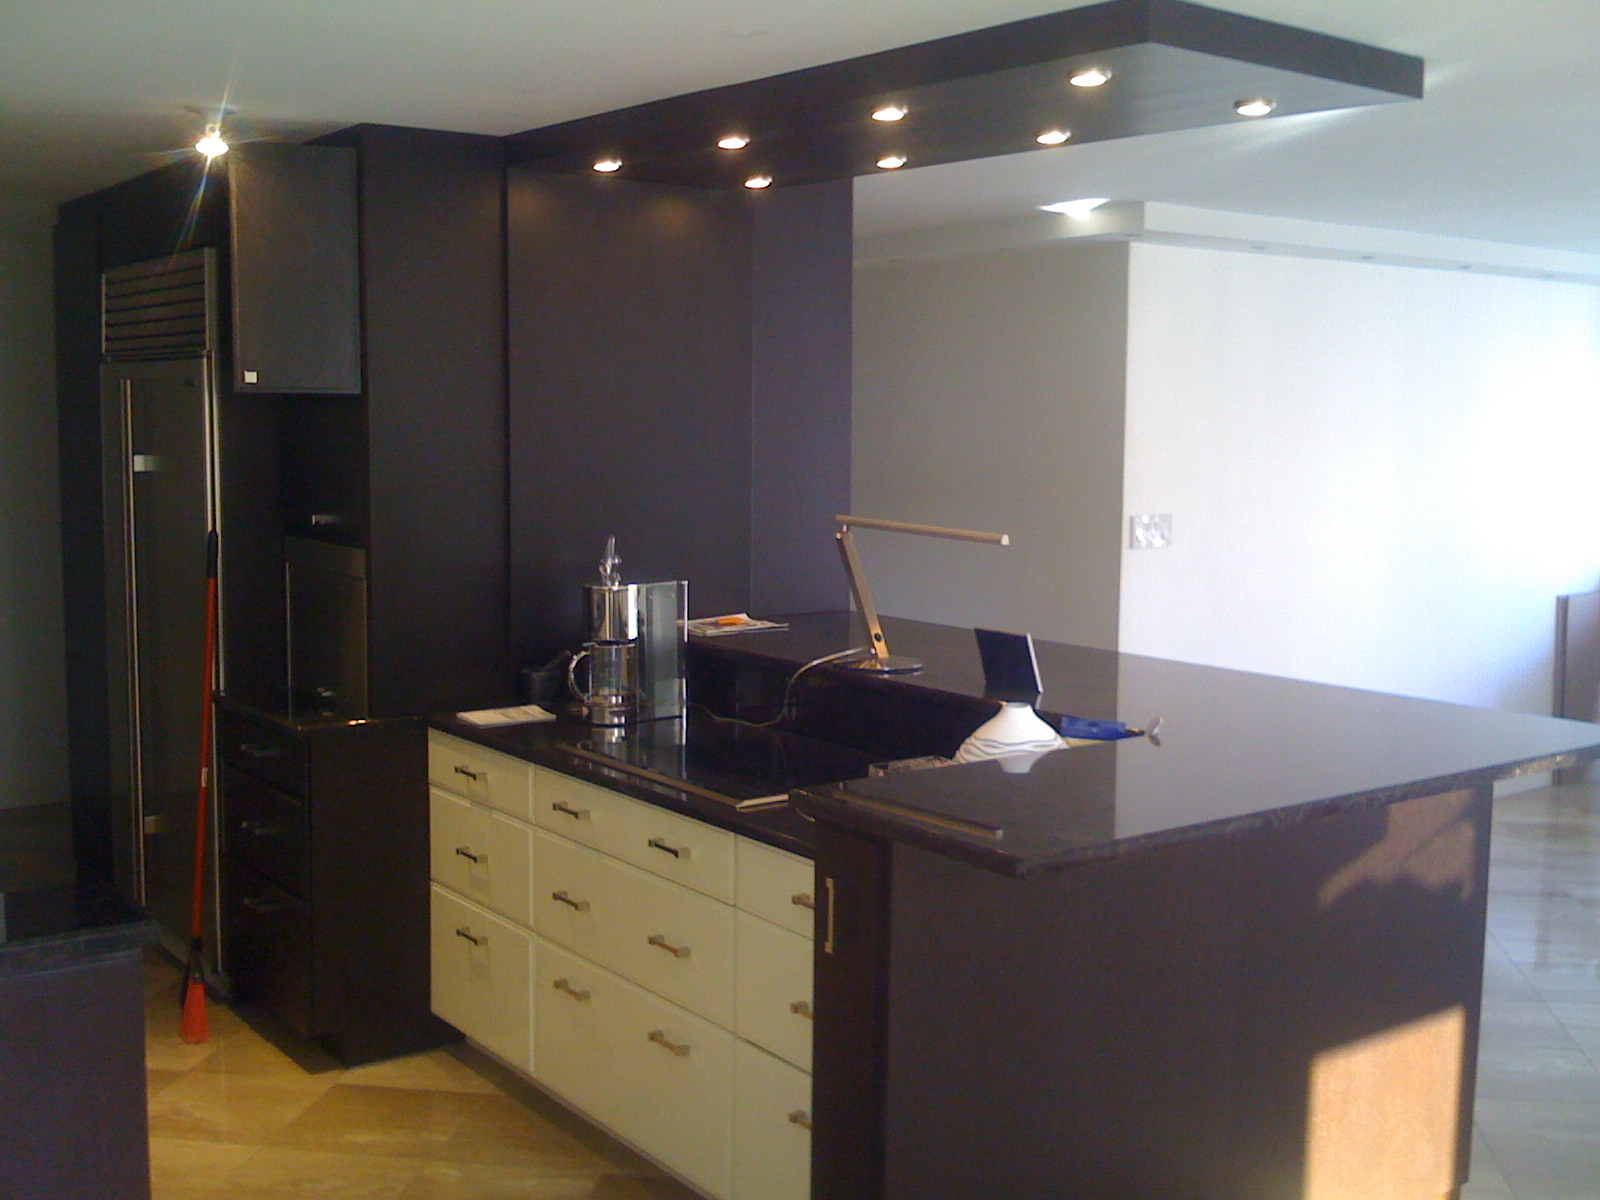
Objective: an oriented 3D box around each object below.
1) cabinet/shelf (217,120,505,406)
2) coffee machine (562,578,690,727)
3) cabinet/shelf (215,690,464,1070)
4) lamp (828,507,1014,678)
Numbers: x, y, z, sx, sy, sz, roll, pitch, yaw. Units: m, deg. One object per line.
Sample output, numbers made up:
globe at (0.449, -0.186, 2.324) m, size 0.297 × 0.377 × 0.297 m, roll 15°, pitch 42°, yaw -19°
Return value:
cabinet/shelf at (-1.505, -1.084, 4.323) m, size 0.747 × 0.757 × 0.405 m, roll 9°, pitch 13°, yaw 30°
coffee machine at (-0.508, 0.160, 4.200) m, size 0.482 × 0.517 × 0.279 m, roll -8°, pitch 13°, yaw -38°
cabinet/shelf at (-1.546, 0.896, 4.273) m, size 0.804 × 1.089 × 0.385 m, roll 6°, pitch 12°, yaw 24°
lamp at (0.340, -0.004, 3.907) m, size 0.583 × 0.444 × 0.193 m, roll 9°, pitch 13°, yaw 37°
